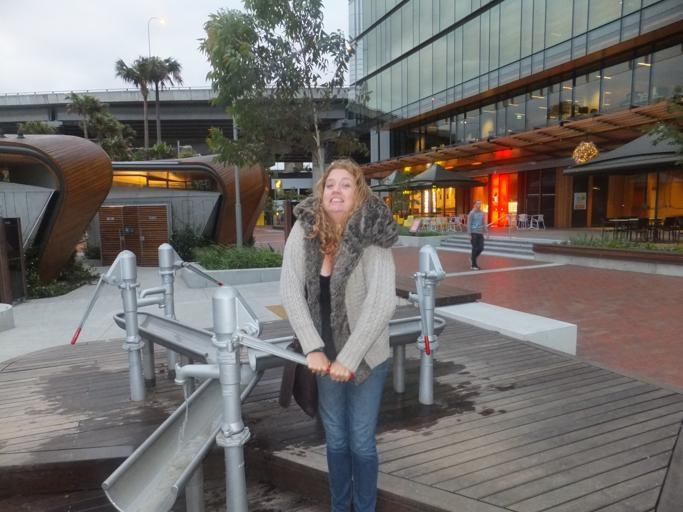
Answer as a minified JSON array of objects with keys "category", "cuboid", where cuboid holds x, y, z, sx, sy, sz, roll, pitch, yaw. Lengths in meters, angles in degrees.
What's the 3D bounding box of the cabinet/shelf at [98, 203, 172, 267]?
[{"category":"cabinet/shelf","cuboid":[-6.258,-0.691,15.213,2.103,1.959,0.679,0,1,0]}]
